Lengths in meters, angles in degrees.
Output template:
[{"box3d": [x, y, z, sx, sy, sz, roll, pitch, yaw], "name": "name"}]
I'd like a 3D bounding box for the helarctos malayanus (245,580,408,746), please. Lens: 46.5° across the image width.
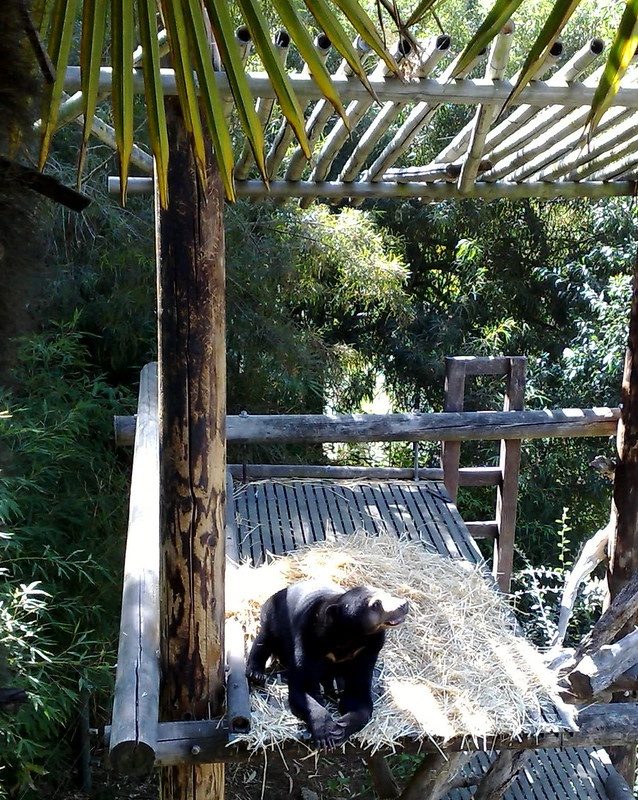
[{"box3d": [0.017, 0.616, 1.879, 0.310, 0.332, 0.590, 6, 0, -19], "name": "helarctos malayanus"}]
